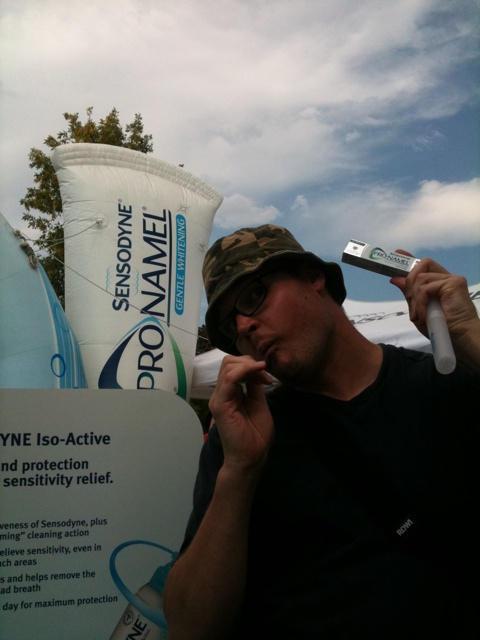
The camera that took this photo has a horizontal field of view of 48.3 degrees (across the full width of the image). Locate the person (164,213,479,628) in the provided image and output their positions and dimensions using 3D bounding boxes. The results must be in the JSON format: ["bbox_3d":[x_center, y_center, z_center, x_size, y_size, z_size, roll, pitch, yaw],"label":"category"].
[{"bbox_3d":[0.197,0.213,1.389,0.866,0.964,0.567,-10,5,3],"label":"person"}]

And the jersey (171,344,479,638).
[{"bbox_3d":[0.233,0.346,1.417,0.629,0.692,0.640,3,-2,-19],"label":"jersey"}]

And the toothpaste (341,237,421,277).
[{"bbox_3d":[0.400,-0.174,1.479,0.200,0.042,0.051,17,8,6],"label":"toothpaste"}]
